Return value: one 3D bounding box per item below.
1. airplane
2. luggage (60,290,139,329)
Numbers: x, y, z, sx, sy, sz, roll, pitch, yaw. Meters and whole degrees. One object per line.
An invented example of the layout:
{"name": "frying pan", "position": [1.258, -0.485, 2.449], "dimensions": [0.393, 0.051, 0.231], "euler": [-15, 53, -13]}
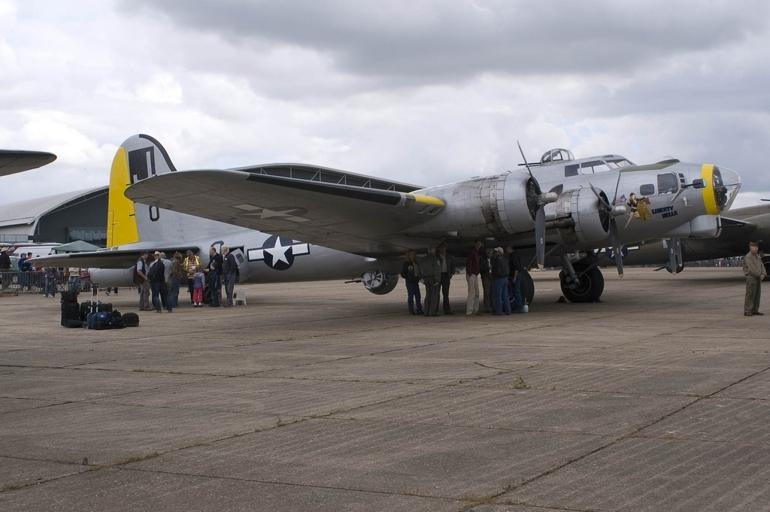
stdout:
{"name": "airplane", "position": [1.149, -0.947, 18.290], "dimensions": [10.278, 2.615, 12.608], "euler": [-2, 1, 23]}
{"name": "luggage", "position": [-7.061, 1.298, 16.947], "dimensions": [1.591, 0.638, 1.087], "euler": [1, 1, 24]}
